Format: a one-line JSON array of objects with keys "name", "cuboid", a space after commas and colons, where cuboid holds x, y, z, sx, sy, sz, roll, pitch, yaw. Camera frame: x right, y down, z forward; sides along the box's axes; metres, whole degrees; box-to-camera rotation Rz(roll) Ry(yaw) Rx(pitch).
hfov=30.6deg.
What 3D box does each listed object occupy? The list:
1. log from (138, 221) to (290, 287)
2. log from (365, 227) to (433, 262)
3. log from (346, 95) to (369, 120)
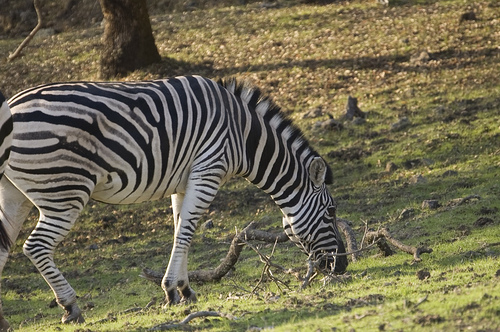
[{"name": "log", "cuboid": [-0.737, 1.890, 18.818, 3.434, 1.136, 0.568, -14, 21, 21]}, {"name": "log", "cuboid": [2.964, 1.652, 18.571, 1.428, 0.590, 0.909, 5, 15, 16]}, {"name": "log", "cuboid": [2.874, -1.520, 24.278, 0.187, 0.378, 0.716, -19, 55, -11]}]
